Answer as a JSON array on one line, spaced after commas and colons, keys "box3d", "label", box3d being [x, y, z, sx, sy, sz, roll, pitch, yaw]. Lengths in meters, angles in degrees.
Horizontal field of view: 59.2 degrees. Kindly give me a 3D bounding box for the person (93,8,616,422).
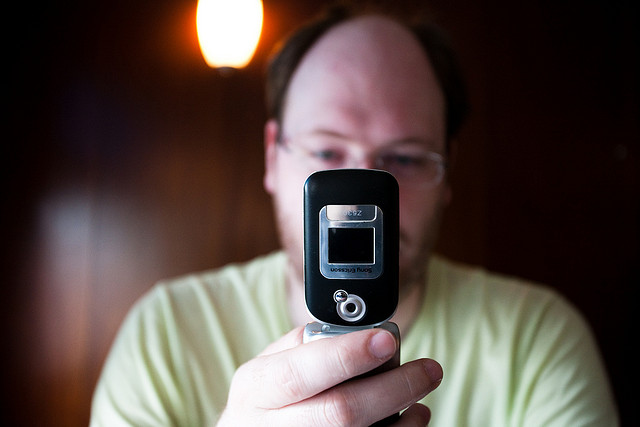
[{"box3d": [0.112, 0.095, 1.506, 0.951, 0.789, 0.975, 0, -5, 3], "label": "person"}]
